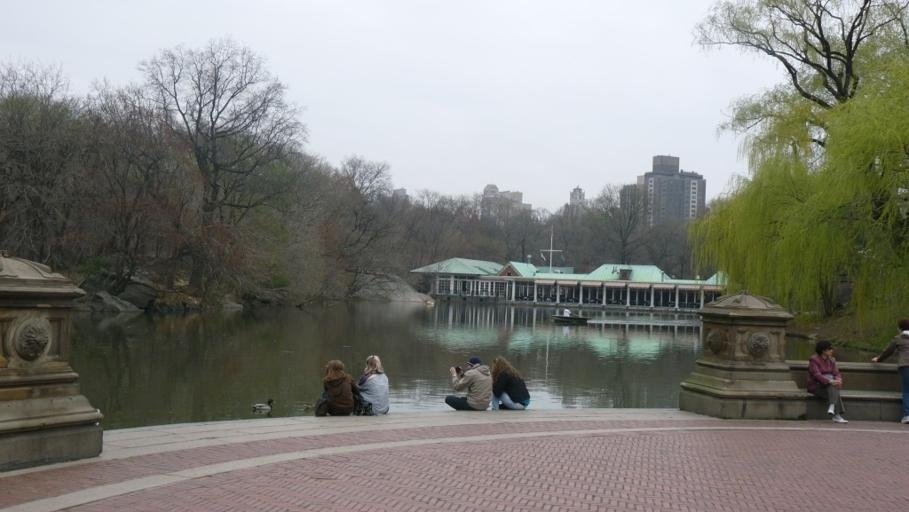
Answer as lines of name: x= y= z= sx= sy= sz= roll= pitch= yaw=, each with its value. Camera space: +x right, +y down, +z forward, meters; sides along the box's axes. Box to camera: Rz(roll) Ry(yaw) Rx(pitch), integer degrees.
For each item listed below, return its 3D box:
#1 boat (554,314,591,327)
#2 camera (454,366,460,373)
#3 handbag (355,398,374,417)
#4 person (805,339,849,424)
boat: x=8.971 y=4.925 z=61.428 sx=3.005 sy=0.935 sz=0.974 roll=5 pitch=-19 yaw=-9
camera: x=0.070 y=3.590 z=25.560 sx=0.164 sy=0.160 sz=0.193 roll=0 pitch=-13 yaw=0
handbag: x=-2.761 y=4.582 z=24.373 sx=0.500 sy=0.453 sz=0.484 roll=3 pitch=-9 yaw=-11
person: x=11.153 y=3.715 z=24.230 sx=1.151 sy=2.344 sz=0.709 roll=2 pitch=4 yaw=12
